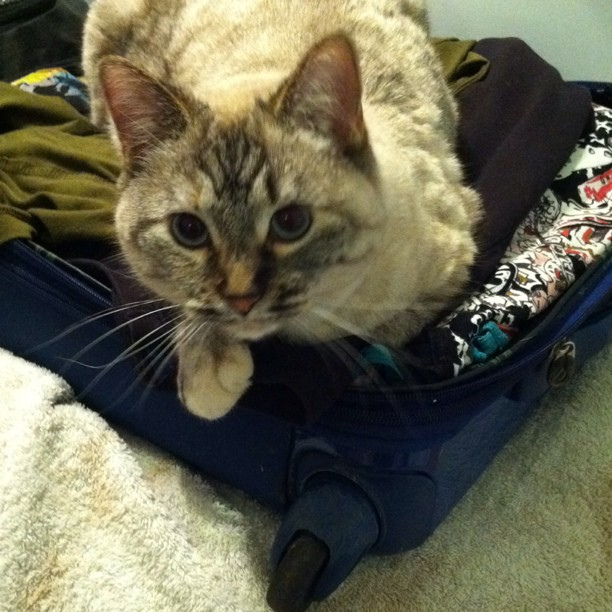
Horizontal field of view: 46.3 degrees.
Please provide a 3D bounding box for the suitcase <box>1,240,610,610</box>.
[{"bbox_3d":[-0.020,0.045,0.831,0.605,0.137,0.548,13,25,37],"label":"suitcase"}]

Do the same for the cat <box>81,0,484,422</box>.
[{"bbox_3d":[0.003,-0.186,0.894,0.413,0.317,0.587,-3,42,8],"label":"cat"}]
